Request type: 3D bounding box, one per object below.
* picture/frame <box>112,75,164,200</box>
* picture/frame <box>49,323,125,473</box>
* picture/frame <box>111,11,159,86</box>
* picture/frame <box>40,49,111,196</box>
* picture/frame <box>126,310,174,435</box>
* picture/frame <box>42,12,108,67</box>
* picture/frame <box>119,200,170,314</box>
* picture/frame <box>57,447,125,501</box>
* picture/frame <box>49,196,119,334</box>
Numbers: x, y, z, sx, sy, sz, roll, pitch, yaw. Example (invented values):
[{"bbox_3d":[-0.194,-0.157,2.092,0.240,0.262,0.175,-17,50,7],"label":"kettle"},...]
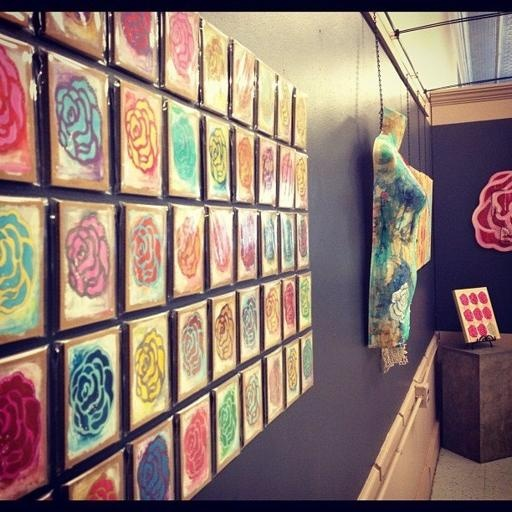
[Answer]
[{"bbox_3d":[-0.159,-0.157,0.631,0.016,0.151,0.097,-1,6,22],"label":"picture/frame"},{"bbox_3d":[-0.203,0.165,0.557,0.008,0.148,0.102,0,7,30],"label":"picture/frame"},{"bbox_3d":[-0.161,-0.291,0.623,0.011,0.098,0.097,-1,7,24],"label":"picture/frame"},{"bbox_3d":[-0.207,-0.153,0.541,0.005,0.150,0.093,0,7,29],"label":"picture/frame"},{"bbox_3d":[-0.150,0.155,0.647,0.005,0.148,0.097,-1,7,26],"label":"picture/frame"},{"bbox_3d":[-0.214,-0.250,0.533,0.008,0.059,0.079,-1,1,28],"label":"picture/frame"},{"bbox_3d":[-0.155,-0.007,0.642,0.007,0.131,0.096,1,1,26],"label":"picture/frame"},{"bbox_3d":[-0.197,0.280,0.571,0.084,0.009,0.062,40,13,-42],"label":"picture/frame"},{"bbox_3d":[-0.202,0.007,0.555,0.016,0.151,0.098,-1,6,22],"label":"picture/frame"}]
